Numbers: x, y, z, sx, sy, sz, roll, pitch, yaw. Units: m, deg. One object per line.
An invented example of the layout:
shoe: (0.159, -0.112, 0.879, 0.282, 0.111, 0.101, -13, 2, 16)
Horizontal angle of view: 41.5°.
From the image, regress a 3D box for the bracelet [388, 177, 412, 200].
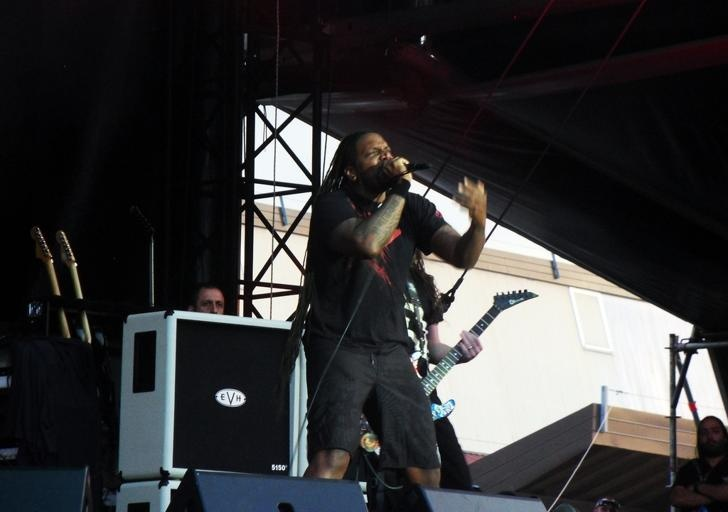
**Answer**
bracelet: (0.174, -0.345, 5.002, 0.102, 0.115, 0.106, 12, -30, -3)

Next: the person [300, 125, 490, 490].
person: (0.118, 0.233, 4.903, 0.879, 1.832, 0.396, -1, -13, -4)

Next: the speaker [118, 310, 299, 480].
speaker: (-0.949, 0.903, 5.908, 0.962, 0.974, 0.547, 13, -19, -42)

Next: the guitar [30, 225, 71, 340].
guitar: (-2.482, 0.162, 7.640, 0.323, 0.994, 0.774, 3, -14, -19)

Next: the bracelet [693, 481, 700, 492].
bracelet: (2.481, 1.755, 7.269, 0.042, 0.068, 0.017, -10, -15, 30)
